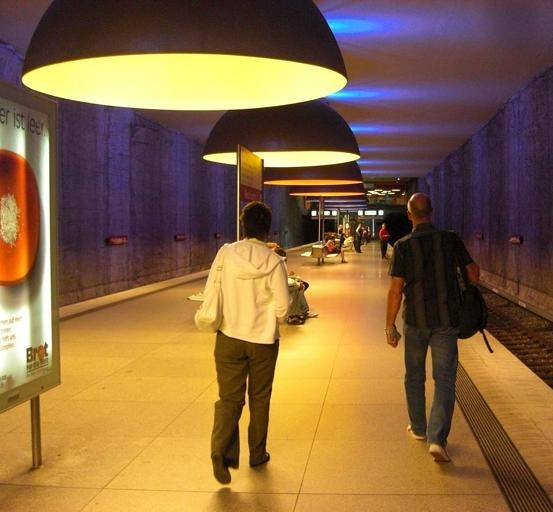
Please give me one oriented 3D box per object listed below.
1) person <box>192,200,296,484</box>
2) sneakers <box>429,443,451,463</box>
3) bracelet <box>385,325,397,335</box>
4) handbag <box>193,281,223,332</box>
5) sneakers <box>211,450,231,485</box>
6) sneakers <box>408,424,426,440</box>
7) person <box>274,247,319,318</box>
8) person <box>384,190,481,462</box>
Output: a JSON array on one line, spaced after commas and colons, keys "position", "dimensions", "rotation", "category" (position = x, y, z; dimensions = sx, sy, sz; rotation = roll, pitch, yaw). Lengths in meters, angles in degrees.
[{"position": [-0.208, 0.499, 2.657], "dimensions": [0.542, 1.670, 0.353], "rotation": [1, -1, -14], "category": "person"}, {"position": [1.052, 1.271, 2.887], "dimensions": [0.121, 0.136, 0.145], "rotation": [0, -1, 24], "category": "sneakers"}, {"position": [0.811, 0.524, 3.168], "dimensions": [0.065, 0.047, 0.099], "rotation": [-5, 0, 13], "category": "bracelet"}, {"position": [-0.401, 0.309, 2.642], "dimensions": [0.154, 0.306, 0.232], "rotation": [0, -1, -11], "category": "handbag"}, {"position": [-0.309, 1.171, 2.500], "dimensions": [0.079, 0.215, 0.075], "rotation": [-14, -8, -3], "category": "sneakers"}, {"position": [1.041, 1.317, 3.351], "dimensions": [0.051, 0.074, 0.159], "rotation": [-1, 17, -5], "category": "sneakers"}, {"position": [0.321, 0.477, 8.633], "dimensions": [0.860, 1.296, 0.324], "rotation": [-2, -1, -32], "category": "person"}, {"position": [1.057, 0.455, 3.061], "dimensions": [0.582, 1.803, 0.433], "rotation": [0, -1, 27], "category": "person"}]
